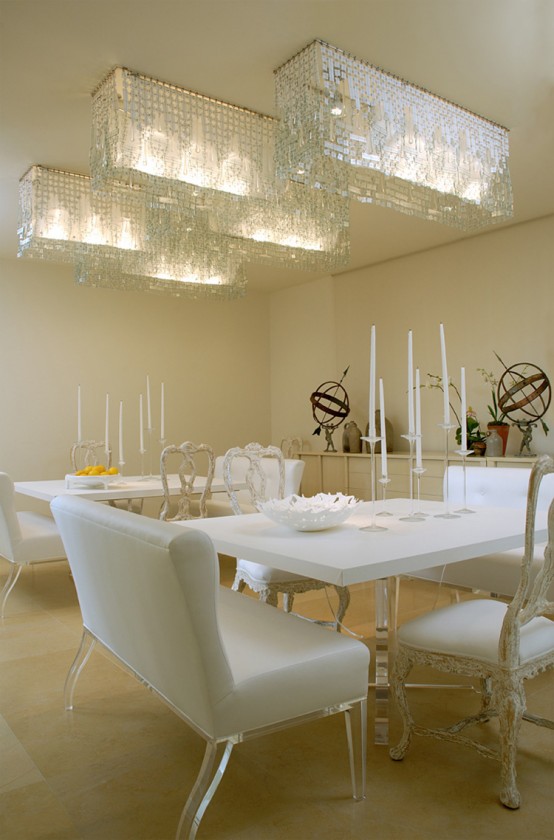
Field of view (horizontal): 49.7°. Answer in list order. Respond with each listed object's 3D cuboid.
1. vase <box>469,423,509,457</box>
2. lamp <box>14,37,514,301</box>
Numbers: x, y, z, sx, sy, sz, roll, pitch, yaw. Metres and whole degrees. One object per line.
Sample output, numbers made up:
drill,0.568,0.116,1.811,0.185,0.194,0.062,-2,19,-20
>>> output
vase,1.725,0.169,4.865,0.237,0.310,0.271,2,-1,-30
lamp,-0.110,-1.205,2.937,1.363,0.379,1.419,4,-9,-40
